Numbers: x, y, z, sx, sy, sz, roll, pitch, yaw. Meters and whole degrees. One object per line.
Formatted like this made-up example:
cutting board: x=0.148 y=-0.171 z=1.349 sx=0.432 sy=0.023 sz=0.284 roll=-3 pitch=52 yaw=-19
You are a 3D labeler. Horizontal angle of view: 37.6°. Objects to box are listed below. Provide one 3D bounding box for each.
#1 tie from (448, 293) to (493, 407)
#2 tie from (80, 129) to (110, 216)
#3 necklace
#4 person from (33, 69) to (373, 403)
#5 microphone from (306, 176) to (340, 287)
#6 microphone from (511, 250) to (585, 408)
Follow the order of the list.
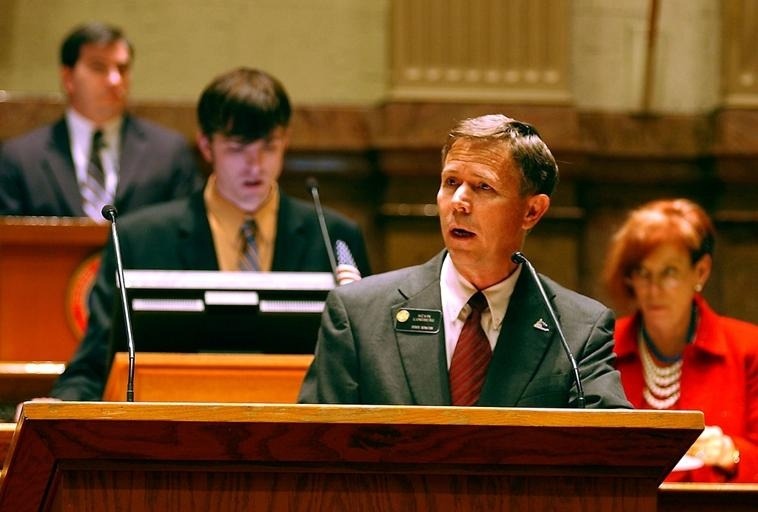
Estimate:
tie: x=0.297 y=0.298 z=3.590 sx=0.112 sy=0.032 sz=0.422 roll=3 pitch=51 yaw=6
tie: x=-1.167 y=-0.350 z=4.683 sx=0.037 sy=0.407 sz=0.090 roll=2 pitch=-5 yaw=-5
necklace: x=1.093 y=0.369 z=4.201 sx=0.247 sy=0.391 sz=0.097 roll=-1 pitch=-3 yaw=13
person: x=-0.743 y=-0.070 z=4.248 sx=1.090 sy=1.731 sz=0.531 roll=2 pitch=-21 yaw=-7
microphone: x=-0.227 y=-0.092 z=4.370 sx=0.050 sy=0.506 sz=0.039 roll=-9 pitch=9 yaw=19
microphone: x=0.553 y=0.249 z=3.699 sx=0.048 sy=0.123 sz=0.598 roll=14 pitch=48 yaw=-31
